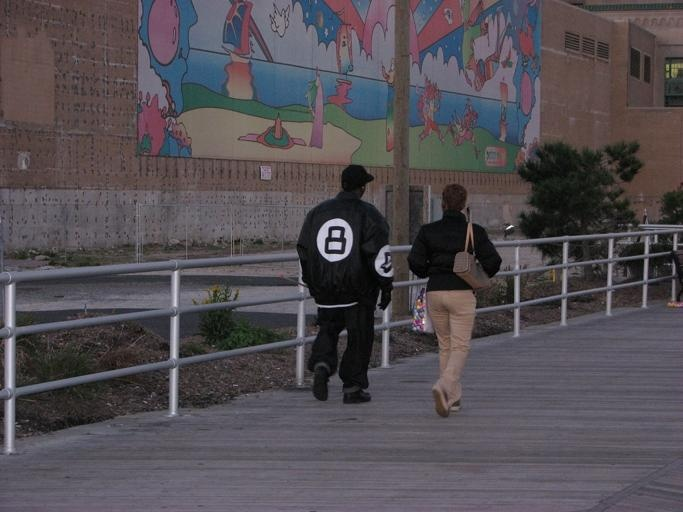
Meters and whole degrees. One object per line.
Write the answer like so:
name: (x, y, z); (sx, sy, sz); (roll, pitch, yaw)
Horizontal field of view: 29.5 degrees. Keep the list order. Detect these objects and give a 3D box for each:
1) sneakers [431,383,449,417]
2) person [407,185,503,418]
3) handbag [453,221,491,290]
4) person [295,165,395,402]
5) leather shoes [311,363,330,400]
sneakers: (1.302, 1.926, 17.353); (0.160, 0.508, 0.192); (-8, 3, 24)
person: (1.461, 0.602, 17.529); (1.164, 3.037, 0.719); (0, 5, 6)
handbag: (1.720, 0.025, 17.449); (0.176, 0.641, 0.593); (-9, -30, 19)
person: (0.023, 0.429, 17.772); (1.275, 3.238, 0.645); (0, 5, 0)
leather shoes: (-0.306, 1.741, 17.891); (0.184, 0.547, 0.207); (-3, -8, 7)
